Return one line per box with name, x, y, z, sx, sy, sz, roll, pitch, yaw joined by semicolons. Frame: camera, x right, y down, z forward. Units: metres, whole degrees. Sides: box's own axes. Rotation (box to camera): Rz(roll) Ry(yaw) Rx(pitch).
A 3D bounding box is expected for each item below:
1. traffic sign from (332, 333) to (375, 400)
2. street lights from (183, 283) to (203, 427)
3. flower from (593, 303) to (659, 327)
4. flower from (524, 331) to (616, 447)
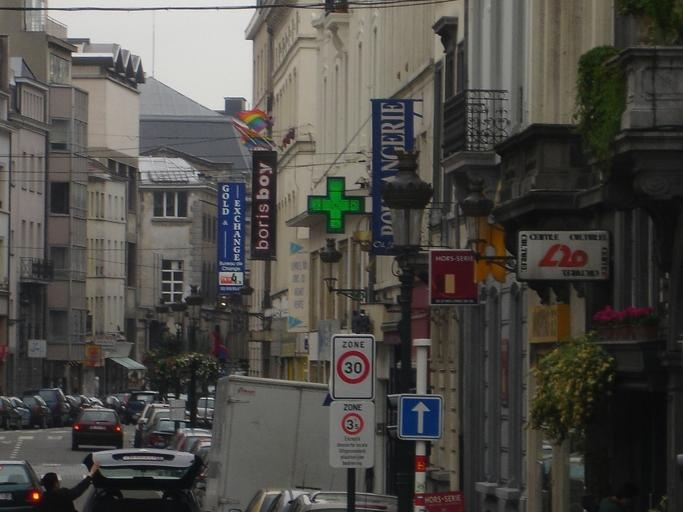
traffic sign;0.234;2.030;47.215;0.833;1.246;0.304;1;-11;-3
street lights;-5.506;3.730;93.929;0.624;4.729;0.807;-1;-2;-40
flower;5.656;1.148;49.813;1.539;0.510;0.351;-9;-14;40
flower;4.693;2.566;50.330;0.728;2.117;1.977;9;-14;-38
